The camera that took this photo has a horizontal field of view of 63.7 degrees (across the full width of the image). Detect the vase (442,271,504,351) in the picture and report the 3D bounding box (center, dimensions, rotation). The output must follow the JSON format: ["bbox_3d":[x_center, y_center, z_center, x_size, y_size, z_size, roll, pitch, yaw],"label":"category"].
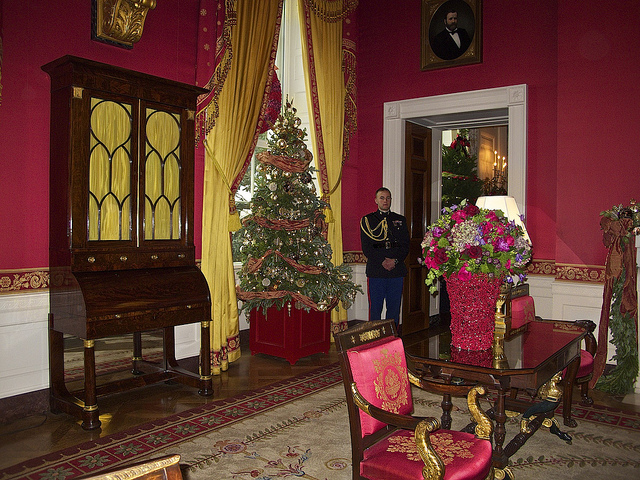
[{"bbox_3d":[1.059,0.499,3.655,0.294,0.644,0.350,-2,6,-22],"label":"vase"}]

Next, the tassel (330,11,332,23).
[{"bbox_3d":[0.149,-3.126,7.188,0.021,0.146,0.046,5,8,39],"label":"tassel"}]

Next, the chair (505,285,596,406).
[{"bbox_3d":[2.079,0.961,4.620,0.701,1.040,0.784,1,-2,-42],"label":"chair"}]

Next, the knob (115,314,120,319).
[{"bbox_3d":[-1.721,0.654,4.373,0.037,0.037,0.009,0,-1,-20],"label":"knob"}]

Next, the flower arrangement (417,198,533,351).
[{"bbox_3d":[1.093,0.247,3.635,0.737,1.065,0.411,1,6,11],"label":"flower arrangement"}]

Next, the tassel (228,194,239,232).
[{"bbox_3d":[-1.007,-0.304,5.972,0.074,0.433,0.206,6,9,42],"label":"tassel"}]

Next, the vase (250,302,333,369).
[{"bbox_3d":[-0.346,1.109,6.334,0.736,0.791,0.755,-3,-5,41],"label":"vase"}]

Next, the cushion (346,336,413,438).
[{"bbox_3d":[0.370,0.895,3.164,0.182,0.597,0.556,-14,-6,39],"label":"cushion"}]

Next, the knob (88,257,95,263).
[{"bbox_3d":[-1.989,0.178,4.478,0.045,0.049,0.012,4,-1,-38],"label":"knob"}]

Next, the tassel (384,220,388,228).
[{"bbox_3d":[0.803,-0.184,6.307,0.041,0.067,0.033,-1,6,-8],"label":"tassel"}]

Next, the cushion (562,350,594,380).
[{"bbox_3d":[2.276,1.070,4.443,0.268,0.071,0.277,-6,4,36],"label":"cushion"}]

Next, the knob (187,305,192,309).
[{"bbox_3d":[-1.231,0.640,4.870,0.010,0.043,0.047,5,8,39],"label":"knob"}]

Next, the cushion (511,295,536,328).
[{"bbox_3d":[1.840,0.681,4.774,0.341,0.303,0.189,-1,-3,-41],"label":"cushion"}]

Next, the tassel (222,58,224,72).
[{"bbox_3d":[-1.076,-1.962,5.722,0.013,0.119,0.027,0,6,-5],"label":"tassel"}]

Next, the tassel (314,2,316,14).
[{"bbox_3d":[-0.069,-3.154,6.983,0.026,0.141,0.011,-4,7,-32],"label":"tassel"}]
